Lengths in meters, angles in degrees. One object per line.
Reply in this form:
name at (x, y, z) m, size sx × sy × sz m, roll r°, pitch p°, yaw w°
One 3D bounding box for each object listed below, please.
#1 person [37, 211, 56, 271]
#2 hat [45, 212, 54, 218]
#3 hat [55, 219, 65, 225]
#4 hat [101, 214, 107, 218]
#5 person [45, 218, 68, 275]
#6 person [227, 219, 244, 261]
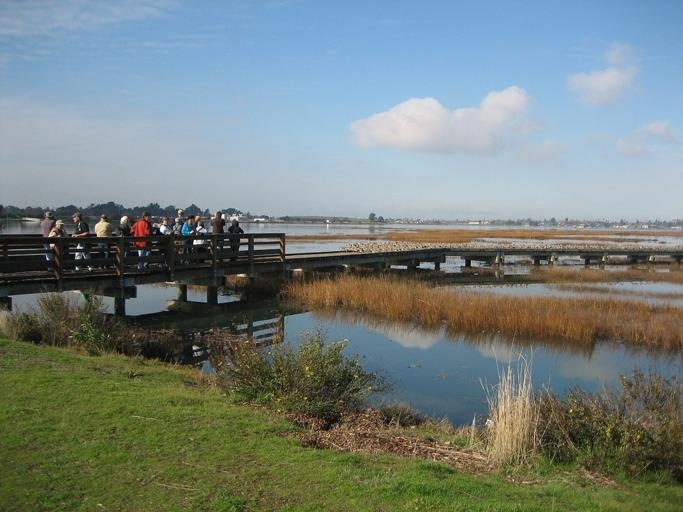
person at (-9.065, -0.685, 19.836) m, size 0.388 × 1.375 × 0.375 m, roll 2°, pitch 33°, yaw -23°
hat at (-8.970, -1.263, 19.652) m, size 0.298 × 0.108 × 0.291 m, roll -1°, pitch -2°, yaw 43°
hat at (-8.376, -0.997, 19.020) m, size 0.309 × 0.152 × 0.436 m, roll 0°, pitch 2°, yaw -42°
hat at (-7.174, -1.187, 19.387) m, size 0.144 × 0.130 × 0.193 m, roll 1°, pitch 7°, yaw -31°
person at (-8.139, -0.252, 18.220) m, size 0.488 × 1.181 × 2.451 m, roll -2°, pitch 13°, yaw -24°
person at (-3.939, -0.663, 23.687) m, size 0.465 × 1.497 × 2.349 m, roll 1°, pitch 12°, yaw -9°
